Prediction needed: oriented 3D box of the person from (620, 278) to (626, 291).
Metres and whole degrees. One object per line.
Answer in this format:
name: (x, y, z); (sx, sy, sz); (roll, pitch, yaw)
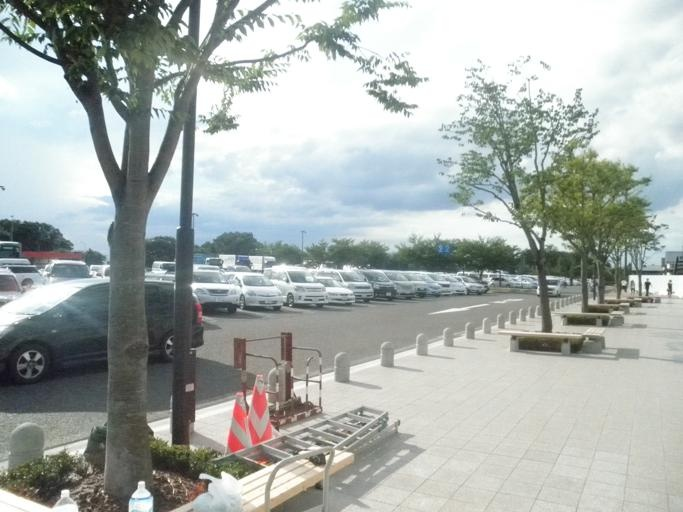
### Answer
person: (33.301, 3.242, 64.067); (0.521, 1.803, 0.736); (-4, 2, 9)

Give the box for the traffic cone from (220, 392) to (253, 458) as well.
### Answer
traffic cone: (-1.476, 2.153, 7.123); (0.613, 0.857, 0.605); (-1, -3, -10)
